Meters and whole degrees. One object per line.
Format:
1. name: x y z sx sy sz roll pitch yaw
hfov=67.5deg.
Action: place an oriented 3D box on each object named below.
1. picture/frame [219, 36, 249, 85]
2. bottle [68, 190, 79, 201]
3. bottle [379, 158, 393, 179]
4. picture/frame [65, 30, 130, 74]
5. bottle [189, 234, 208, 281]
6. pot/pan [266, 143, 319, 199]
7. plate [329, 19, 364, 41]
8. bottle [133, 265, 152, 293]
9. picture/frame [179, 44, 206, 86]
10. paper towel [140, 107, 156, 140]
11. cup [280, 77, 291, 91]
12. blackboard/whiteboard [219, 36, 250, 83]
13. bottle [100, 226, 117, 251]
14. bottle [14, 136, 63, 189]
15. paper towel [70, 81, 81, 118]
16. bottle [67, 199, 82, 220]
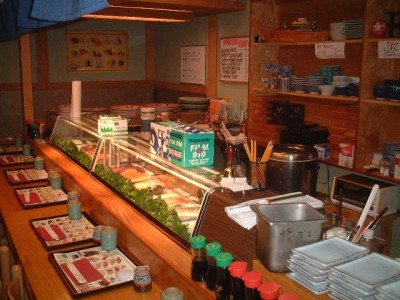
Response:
1. picture/frame: 0.534 -1.339 4.449 0.057 0.660 0.757 -11 21 -28
2. bottle: -1.126 0.399 2.644 0.086 0.095 0.087 2 1 15
3. bottle: 1.771 0.169 2.859 0.096 0.147 0.129 2 13 16
4. picture/frame: -2.085 -1.980 5.958 0.967 0.638 0.102 -5 12 -23
5. bottle: 0.002 0.533 1.467 0.079 0.216 0.083 -2 12 0
6. pot/pan: 0.714 0.200 2.371 0.339 0.322 0.342 1 -4 -24
7. plate: 1.472 -1.200 3.051 0.241 0.101 0.239 -3 13 2
8. bottle: -0.316 0.721 1.703 0.119 0.117 0.109 3 5 36
9. picture/frame: -0.109 -1.505 5.314 0.069 0.661 0.701 -13 21 -39
10. paper towel: -0.477 -0.259 2.801 0.142 0.238 0.141 3 9 4
11. cup: 1.032 -0.804 3.628 0.149 0.159 0.144 -1 11 0
12. blackboard/whiteboard: 0.522 -1.344 4.468 0.057 0.654 0.751 -12 20 -28
13. bottle: -0.625 0.611 2.059 0.124 0.124 0.122 -3 11 -40
14. bottle: -1.932 0.150 3.573 0.455 0.255 1.088 -2 36 -34
15. paper towel: -1.524 -0.616 3.657 0.140 0.431 0.133 -3 12 -4
16. bottle: -1.051 0.505 2.517 0.123 0.132 0.121 2 6 3
